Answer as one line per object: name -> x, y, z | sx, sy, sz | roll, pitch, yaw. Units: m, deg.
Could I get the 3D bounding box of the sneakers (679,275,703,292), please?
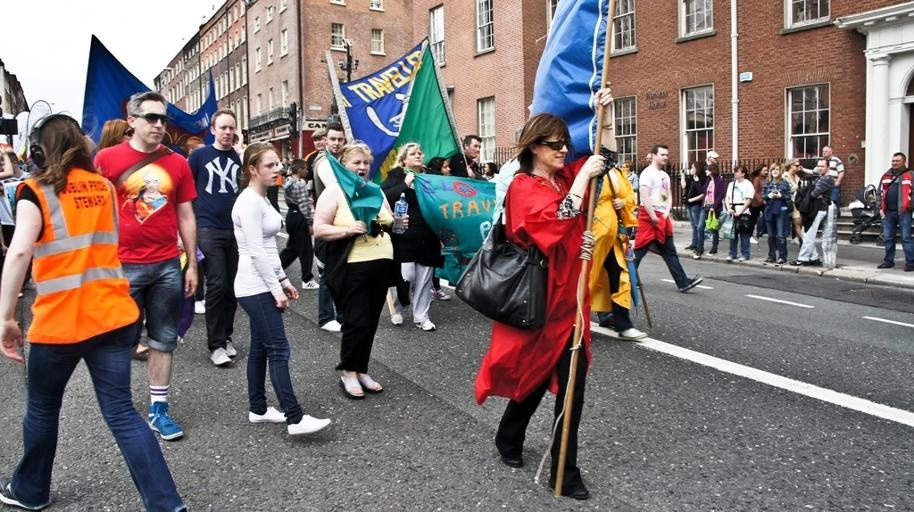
sneakers -> 4.187, 0.493, 10.956 | 0.240, 0.250, 0.656 | 0, 14, 44

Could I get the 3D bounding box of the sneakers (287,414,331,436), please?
sneakers -> -1.405, 1.639, 6.058 | 0.401, 0.148, 0.196 | -3, 3, -11

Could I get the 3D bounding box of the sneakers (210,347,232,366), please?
sneakers -> -2.858, 1.257, 7.676 | 0.152, 0.133, 0.325 | -2, 3, -38

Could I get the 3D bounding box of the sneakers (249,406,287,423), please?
sneakers -> -1.877, 1.617, 6.354 | 0.419, 0.157, 0.150 | 1, -2, -9

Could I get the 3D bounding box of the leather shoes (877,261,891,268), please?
leather shoes -> 8.870, 0.202, 12.982 | 0.348, 0.116, 0.225 | -6, 9, -33

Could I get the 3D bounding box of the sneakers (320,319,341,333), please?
sneakers -> -1.763, 1.007, 8.900 | 0.326, 0.116, 0.181 | -2, 8, 29

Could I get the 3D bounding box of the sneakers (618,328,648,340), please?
sneakers -> 2.387, 1.049, 8.357 | 0.319, 0.116, 0.170 | 2, 1, 17

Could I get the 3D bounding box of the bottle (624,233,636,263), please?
bottle -> 2.429, -0.093, 8.731 | 0.212, 0.456, 0.346 | -1, -7, 7

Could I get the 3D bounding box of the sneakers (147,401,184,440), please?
sneakers -> -2.878, 1.627, 6.240 | 0.558, 0.279, 0.214 | 15, 20, 35

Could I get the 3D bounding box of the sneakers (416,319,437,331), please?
sneakers -> -0.417, 1.013, 8.920 | 0.133, 0.126, 0.309 | -2, -2, -39

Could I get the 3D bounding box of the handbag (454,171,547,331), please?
handbag -> 0.405, 0.163, 5.392 | 0.728, 0.881, 0.314 | 4, 9, 30

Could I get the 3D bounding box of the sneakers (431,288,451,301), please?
sneakers -> -0.222, 0.676, 10.669 | 0.369, 0.159, 0.146 | 3, 5, 38
